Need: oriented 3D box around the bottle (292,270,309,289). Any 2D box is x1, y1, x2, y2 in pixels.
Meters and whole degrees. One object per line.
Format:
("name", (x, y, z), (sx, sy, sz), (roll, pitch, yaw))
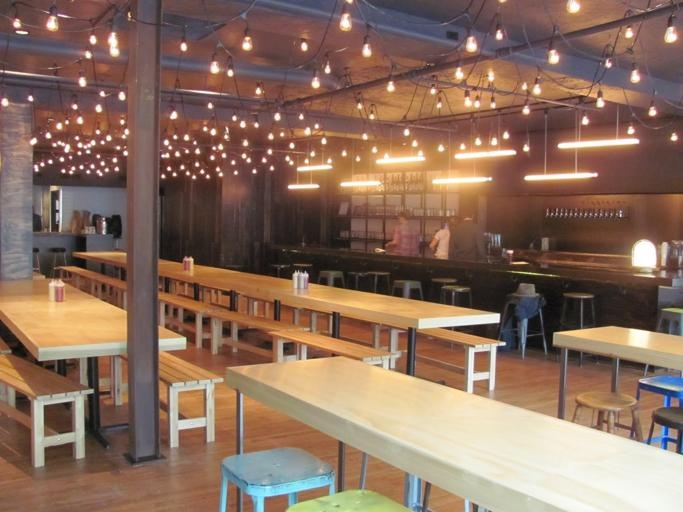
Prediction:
("bottle", (-0.482, 0.287, 7.208), (0.213, 0.280, 0.213), (0, 3, 0))
